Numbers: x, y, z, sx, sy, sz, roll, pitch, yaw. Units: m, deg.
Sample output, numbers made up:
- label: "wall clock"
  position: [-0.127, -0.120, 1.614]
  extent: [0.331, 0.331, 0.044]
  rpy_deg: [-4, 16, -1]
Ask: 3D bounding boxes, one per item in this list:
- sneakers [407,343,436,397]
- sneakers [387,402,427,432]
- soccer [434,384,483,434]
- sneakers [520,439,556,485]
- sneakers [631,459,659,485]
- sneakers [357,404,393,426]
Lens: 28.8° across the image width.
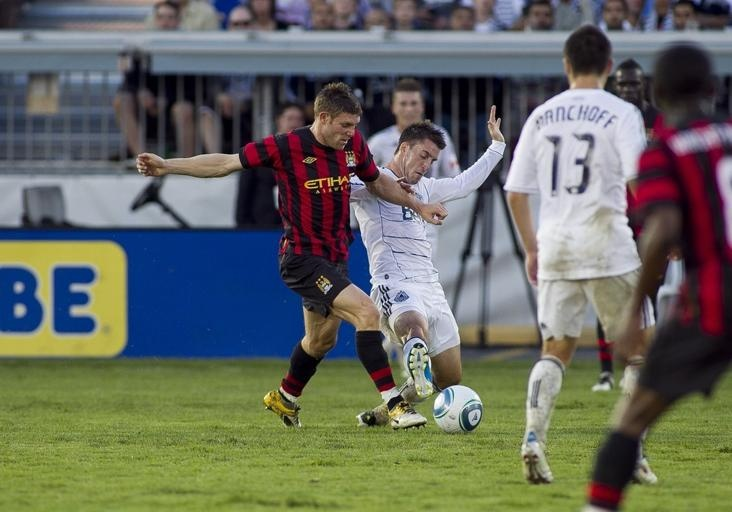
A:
- label: "sneakers"
  position: [0.385, 0.808, 10.148]
  extent: [0.150, 0.426, 0.192]
  rpy_deg: [-8, -7, -8]
- label: "sneakers"
  position: [0.296, 1.181, 10.331]
  extent: [0.265, 0.252, 0.295]
  rpy_deg: [-1, 11, -4]
- label: "soccer"
  position: [0.711, 1.081, 10.419]
  extent: [0.343, 0.348, 0.325]
  rpy_deg: [-10, 2, 23]
- label: "sneakers"
  position: [1.100, 1.337, 9.097]
  extent: [0.121, 0.356, 0.162]
  rpy_deg: [-10, 37, 8]
- label: "sneakers"
  position: [1.820, 1.409, 9.292]
  extent: [0.191, 0.203, 0.112]
  rpy_deg: [2, 0, 6]
- label: "sneakers"
  position: [0.068, 1.201, 10.592]
  extent: [0.297, 0.146, 0.112]
  rpy_deg: [-10, 7, 0]
